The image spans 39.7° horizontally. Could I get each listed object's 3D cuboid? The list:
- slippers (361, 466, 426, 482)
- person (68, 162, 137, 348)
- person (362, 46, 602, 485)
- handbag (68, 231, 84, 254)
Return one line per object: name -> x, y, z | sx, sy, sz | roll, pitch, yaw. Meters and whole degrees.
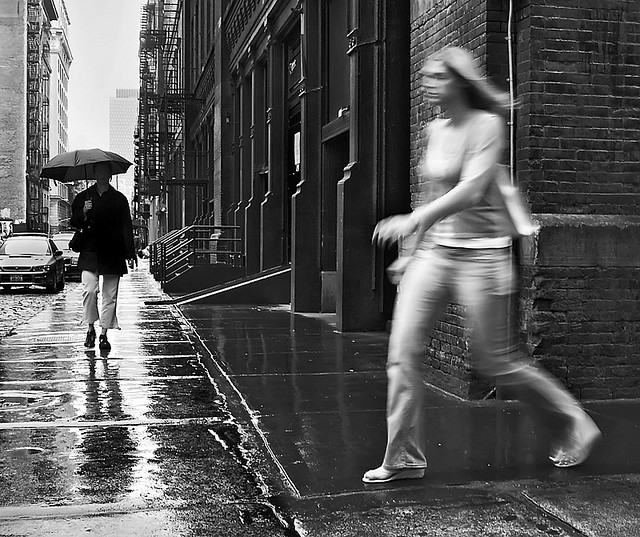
slippers -> 0.448, 1.220, 5.342 | 0.321, 0.128, 0.135 | 2, -4, -2
person -> -2.498, -0.134, 10.215 | 0.692, 2.113, 0.567 | -1, 4, -11
person -> 0.909, -0.016, 5.296 | 1.266, 2.598, 0.742 | -3, 4, -31
handbag -> -2.777, -0.308, 10.138 | 0.175, 0.224, 0.242 | 10, 13, -7
